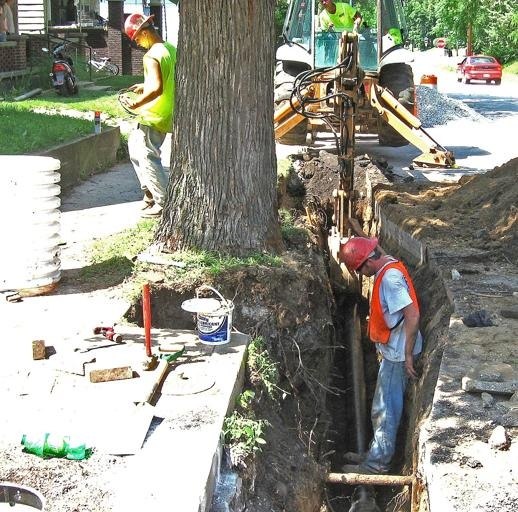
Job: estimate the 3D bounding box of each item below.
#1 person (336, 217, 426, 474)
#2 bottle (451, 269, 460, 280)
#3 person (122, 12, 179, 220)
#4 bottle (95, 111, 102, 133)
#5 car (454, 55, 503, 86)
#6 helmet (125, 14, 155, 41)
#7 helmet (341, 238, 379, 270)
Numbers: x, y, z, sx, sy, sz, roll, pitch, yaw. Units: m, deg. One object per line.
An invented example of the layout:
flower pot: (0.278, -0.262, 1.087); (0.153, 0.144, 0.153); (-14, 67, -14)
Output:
person: (1.077, 1.011, 5.389); (0.717, 2.272, 0.682); (0, 17, -1)
bottle: (1.871, 0.168, 5.903); (0.061, 0.029, 0.095); (-1, 58, 2)
person: (-1.238, -1.494, 7.008); (0.611, 2.394, 1.290); (-2, 18, -9)
bottle: (-2.791, -2.338, 10.743); (0.098, 0.395, 0.468); (-4, 19, -16)
car: (11.362, -9.886, 32.402); (1.242, 0.982, 2.841); (1, 22, 7)
helmet: (-1.298, -2.587, 6.763); (0.153, 0.233, 0.327); (35, 43, 4)
helmet: (0.868, 0.007, 5.327); (0.151, 0.300, 0.237); (27, 18, -22)
